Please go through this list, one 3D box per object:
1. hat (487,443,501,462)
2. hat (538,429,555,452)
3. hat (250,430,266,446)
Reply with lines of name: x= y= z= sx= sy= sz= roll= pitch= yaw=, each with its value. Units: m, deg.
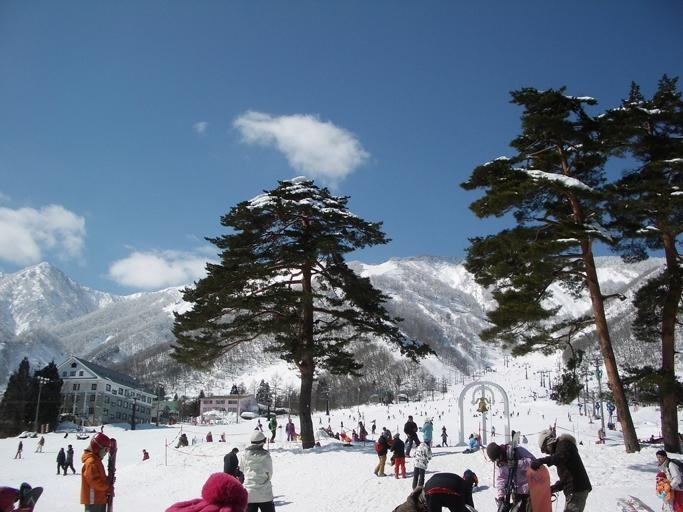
hat: x=4.064 y=5.262 z=16.177 sx=0.366 sy=0.539 sz=0.431 roll=-7 pitch=-51 yaw=26
hat: x=5.643 y=5.098 z=16.596 sx=0.473 sy=0.626 sz=0.773 roll=-6 pitch=-19 yaw=12
hat: x=-2.348 y=5.091 z=16.901 sx=0.346 sy=0.263 sz=0.464 roll=1 pitch=-2 yaw=12
